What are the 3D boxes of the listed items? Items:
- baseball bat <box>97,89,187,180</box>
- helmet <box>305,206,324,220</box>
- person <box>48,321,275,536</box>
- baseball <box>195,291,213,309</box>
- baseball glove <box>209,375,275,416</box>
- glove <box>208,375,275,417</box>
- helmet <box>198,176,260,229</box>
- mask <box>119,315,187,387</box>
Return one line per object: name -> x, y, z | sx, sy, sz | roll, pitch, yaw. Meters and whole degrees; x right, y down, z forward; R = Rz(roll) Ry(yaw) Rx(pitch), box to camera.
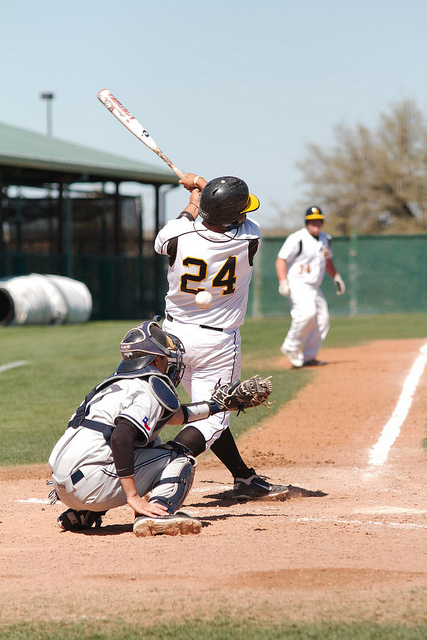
baseball bat -> -0.460, -1.250, 5.786 | 0.096, 0.097, 1.139 | 30, -5, 34
helmet -> 1.131, -1.209, 9.320 | 0.162, 0.148, 0.203 | 0, 4, -20
person -> -0.301, 0.543, 4.086 | 1.084, 0.910, 0.992 | 1, -2, 17
baseball -> -0.041, -0.100, 4.112 | 0.077, 0.090, 0.107 | 4, 5, 35
baseball glove -> 0.164, 0.348, 4.146 | 0.369, 0.153, 0.230 | 16, 37, 40
glove -> 0.152, 0.357, 4.251 | 0.429, 0.175, 0.316 | 3, 11, 11
helmet -> 0.055, -0.579, 4.074 | 0.227, 0.252, 0.149 | 1, 5, -4
mask -> -0.310, 0.144, 3.968 | 0.315, 0.296, 0.306 | 8, -5, 7
